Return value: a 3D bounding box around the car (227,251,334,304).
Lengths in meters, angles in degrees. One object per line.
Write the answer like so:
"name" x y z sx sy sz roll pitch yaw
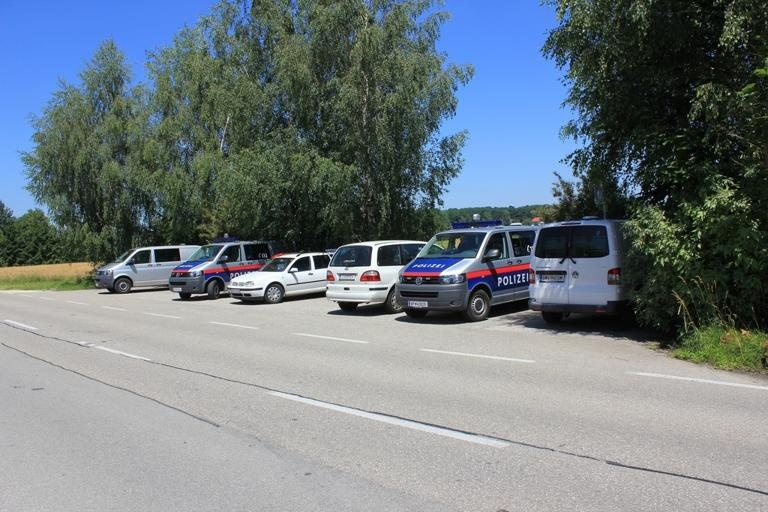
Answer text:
"car" -3.904 0.823 21.257 1.774 1.535 4.188 -2 -1 44
